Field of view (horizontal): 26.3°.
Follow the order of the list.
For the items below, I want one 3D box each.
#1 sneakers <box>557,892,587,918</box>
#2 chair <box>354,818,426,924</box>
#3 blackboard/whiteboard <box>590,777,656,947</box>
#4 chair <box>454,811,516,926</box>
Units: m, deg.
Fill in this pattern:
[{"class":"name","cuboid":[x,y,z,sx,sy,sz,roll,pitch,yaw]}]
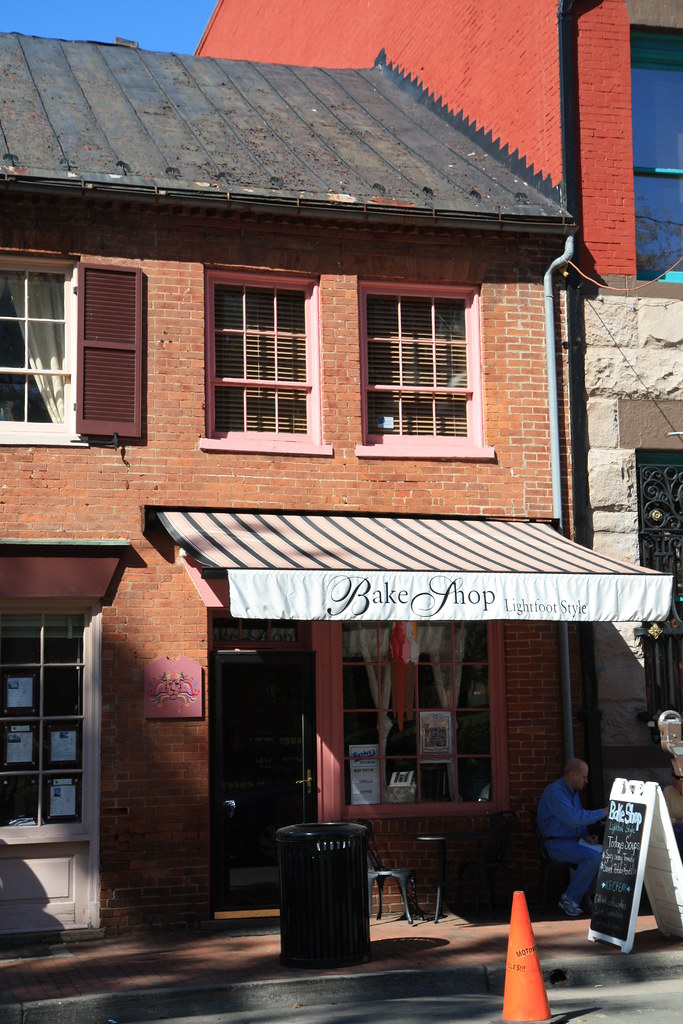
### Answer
[{"class":"sneakers","cuboid":[1.895,3.249,12.043,0.098,0.127,0.262,6,-7,-25]},{"class":"chair","cuboid":[0.392,2.973,12.109,0.549,0.856,0.565,-8,-15,31]},{"class":"blackboard/whiteboard","cuboid":[2.060,2.568,10.674,0.512,1.167,0.762,-2,-6,-9]},{"class":"chair","cuboid":[1.224,3.067,12.705,0.577,0.824,0.583,-3,-10,40]}]
